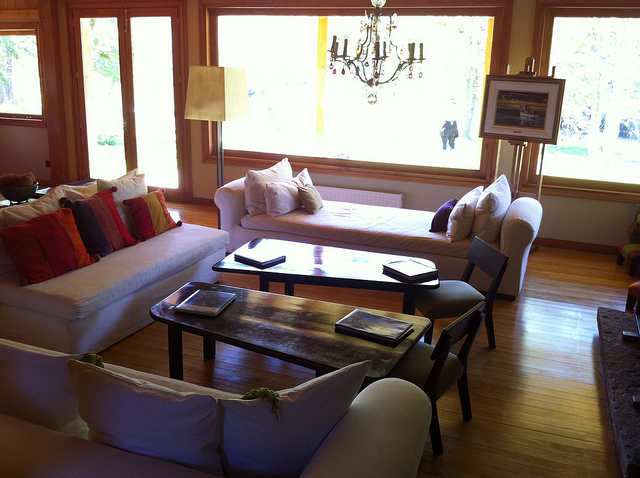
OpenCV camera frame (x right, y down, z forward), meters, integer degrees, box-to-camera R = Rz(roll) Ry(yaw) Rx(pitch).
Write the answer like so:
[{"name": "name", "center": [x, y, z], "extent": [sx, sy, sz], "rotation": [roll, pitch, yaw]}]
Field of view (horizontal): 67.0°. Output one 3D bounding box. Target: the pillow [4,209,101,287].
[{"name": "pillow", "center": [-2.064, 0.077, 3.650], "extent": [0.171, 0.558, 0.577], "rotation": [-28, -1, 42]}]

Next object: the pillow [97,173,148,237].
[{"name": "pillow", "center": [-1.802, -0.286, 4.400], "extent": [0.204, 0.537, 0.458], "rotation": [-13, 13, 23]}]

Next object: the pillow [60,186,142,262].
[{"name": "pillow", "center": [-1.966, -0.173, 4.170], "extent": [0.350, 0.571, 0.668], "rotation": [-7, 12, 39]}]

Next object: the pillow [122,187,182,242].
[{"name": "pillow", "center": [-1.588, -0.189, 4.561], "extent": [0.136, 0.449, 0.463], "rotation": [-16, 10, 36]}]

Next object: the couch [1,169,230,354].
[{"name": "couch", "center": [-1.667, 0.209, 3.939], "extent": [0.886, 0.953, 1.637], "rotation": [11, 19, 14]}]

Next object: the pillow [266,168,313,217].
[{"name": "pillow", "center": [-0.381, -0.480, 5.579], "extent": [0.207, 0.411, 0.934], "rotation": [-4, 10, 24]}]

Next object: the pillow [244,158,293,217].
[{"name": "pillow", "center": [-0.576, -0.566, 5.525], "extent": [0.262, 0.474, 0.840], "rotation": [10, 26, 23]}]

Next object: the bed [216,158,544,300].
[{"name": "bed", "center": [0.544, -0.059, 5.521], "extent": [3.438, 1.292, 1.267], "rotation": [8, 0, 19]}]

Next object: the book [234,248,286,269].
[{"name": "book", "center": [-0.492, 0.169, 3.910], "extent": [0.417, 0.054, 0.244], "rotation": [1, 18, -2]}]

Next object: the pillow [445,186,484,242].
[{"name": "pillow", "center": [1.442, -0.230, 4.789], "extent": [0.210, 0.376, 0.671], "rotation": [19, 33, 26]}]

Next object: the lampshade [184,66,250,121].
[{"name": "lampshade", "center": [-1.118, -1.514, 5.286], "extent": [0.742, 0.609, 0.595], "rotation": [14, 29, 17]}]

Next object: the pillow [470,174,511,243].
[{"name": "pillow", "center": [1.672, -0.270, 4.716], "extent": [0.240, 0.480, 0.772], "rotation": [11, 33, 29]}]

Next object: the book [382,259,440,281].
[{"name": "book", "center": [0.707, 0.239, 3.788], "extent": [0.328, 0.051, 0.334], "rotation": [-11, 22, -35]}]

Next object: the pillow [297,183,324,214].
[{"name": "pillow", "center": [-0.124, -0.448, 5.546], "extent": [0.153, 0.270, 0.435], "rotation": [-13, 19, 16]}]

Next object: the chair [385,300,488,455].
[{"name": "chair", "center": [0.690, 0.824, 2.840], "extent": [0.608, 0.815, 0.592], "rotation": [13, 24, 35]}]

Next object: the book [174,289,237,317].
[{"name": "book", "center": [-0.768, 0.431, 3.300], "extent": [0.313, 0.039, 0.343], "rotation": [6, 18, 14]}]
